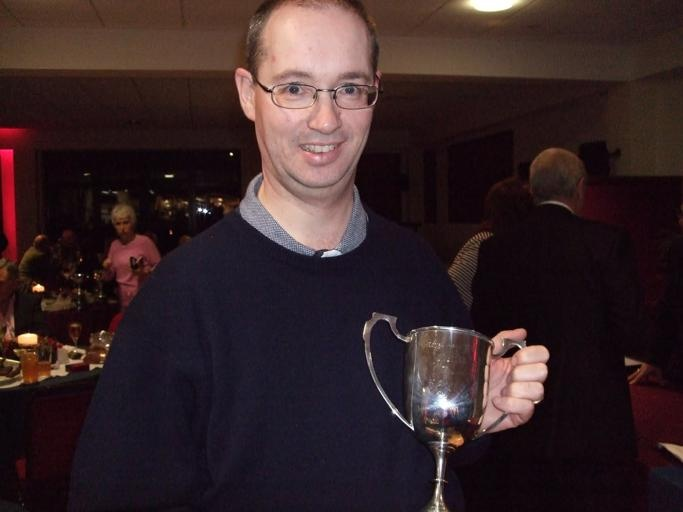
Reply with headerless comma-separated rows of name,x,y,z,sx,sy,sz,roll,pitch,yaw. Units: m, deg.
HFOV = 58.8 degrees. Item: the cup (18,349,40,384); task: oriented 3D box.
cup,-1.742,0.607,3.381,0.089,0.135,0.240,1,0,-28
